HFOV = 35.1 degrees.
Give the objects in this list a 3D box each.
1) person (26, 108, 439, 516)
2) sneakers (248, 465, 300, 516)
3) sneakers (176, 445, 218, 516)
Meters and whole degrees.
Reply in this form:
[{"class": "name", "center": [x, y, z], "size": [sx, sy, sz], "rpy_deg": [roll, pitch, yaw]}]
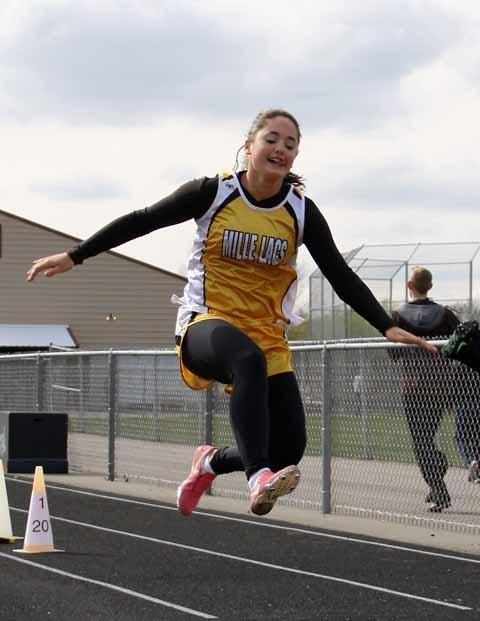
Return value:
[{"class": "person", "center": [0.000, -0.062, 3.014], "size": [1.106, 1.462, 0.891], "rpy_deg": [4, 3, 40]}, {"class": "sneakers", "center": [0.106, 0.597, 2.468], "size": [0.149, 0.228, 0.279], "rpy_deg": [2, 2, -2]}, {"class": "sneakers", "center": [-0.217, 0.780, 3.533], "size": [0.167, 0.367, 0.134], "rpy_deg": [-12, 47, -45]}]
